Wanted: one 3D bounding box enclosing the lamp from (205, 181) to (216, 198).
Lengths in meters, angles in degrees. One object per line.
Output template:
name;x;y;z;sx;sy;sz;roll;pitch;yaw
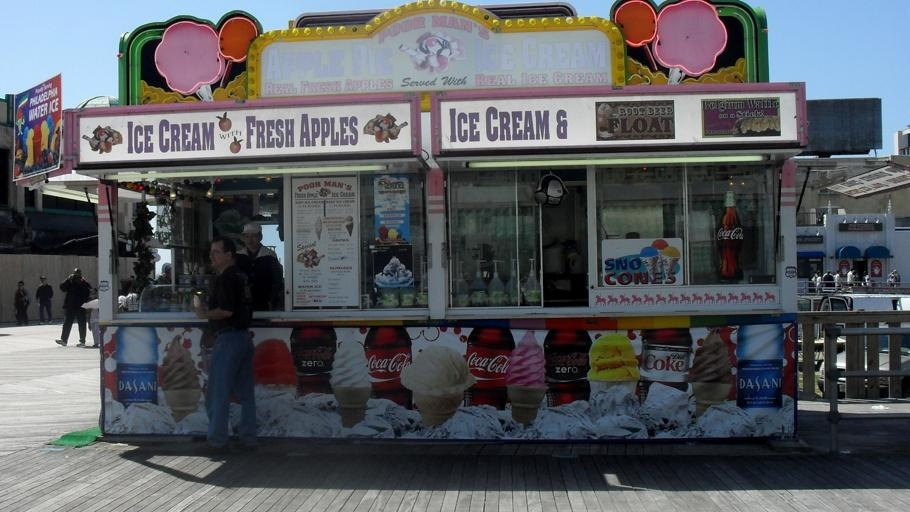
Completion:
lamp;-4.213;-1.132;17.203;0.107;0.257;0.232;-2;0;-30

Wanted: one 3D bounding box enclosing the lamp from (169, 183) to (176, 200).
lamp;-4.815;-1.087;17.080;0.147;0.275;0.192;-2;0;-16

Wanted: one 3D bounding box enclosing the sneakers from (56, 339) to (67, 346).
sneakers;-10.356;2.288;26.310;0.227;0.084;0.075;26;17;19

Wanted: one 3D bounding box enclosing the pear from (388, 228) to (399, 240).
pear;-1.017;-0.360;16.258;0.185;0.193;0.177;3;11;14
